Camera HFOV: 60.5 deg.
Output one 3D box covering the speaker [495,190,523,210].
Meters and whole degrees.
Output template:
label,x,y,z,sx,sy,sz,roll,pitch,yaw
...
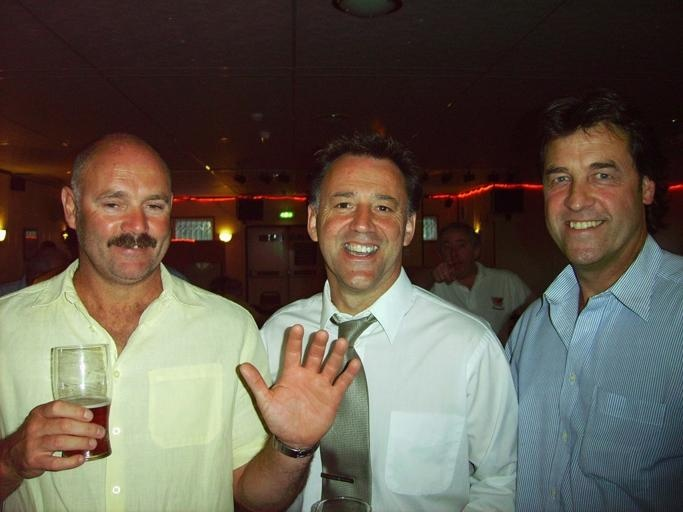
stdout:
label,x,y,z,sx,sy,sz,roll,pitch,yaw
speaker,3.128,-1.038,10.883,0.637,0.445,0.343,-3,5,-16
